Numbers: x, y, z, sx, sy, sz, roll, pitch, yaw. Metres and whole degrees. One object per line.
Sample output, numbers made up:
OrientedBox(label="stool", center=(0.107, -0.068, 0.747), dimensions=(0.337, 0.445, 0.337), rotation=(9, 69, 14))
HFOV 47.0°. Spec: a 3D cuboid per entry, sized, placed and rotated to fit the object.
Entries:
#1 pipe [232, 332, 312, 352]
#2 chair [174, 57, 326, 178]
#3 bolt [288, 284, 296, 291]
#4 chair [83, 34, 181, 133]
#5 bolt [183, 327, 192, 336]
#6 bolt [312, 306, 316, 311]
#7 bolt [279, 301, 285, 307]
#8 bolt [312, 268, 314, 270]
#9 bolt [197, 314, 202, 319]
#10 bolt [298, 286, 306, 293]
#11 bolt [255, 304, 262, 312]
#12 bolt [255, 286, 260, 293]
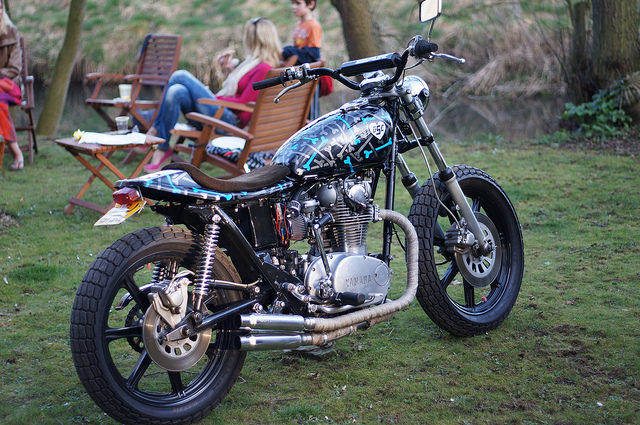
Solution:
OrientedBox(label="pipe", center=(-0.445, 1.137, 6.518), dimensions=(0.574, 0.134, 0.137), rotation=(-1, -21, -24))
OrientedBox(label="chair", center=(-0.820, -1.265, 10.310), dimensions=(1.878, 2.195, 1.511), rotation=(13, 21, 37))
OrientedBox(label="bolt", center=(-0.250, 0.677, 6.640), dimensions=(0.060, 0.056, 0.015), rotation=(-3, 6, -16))
OrientedBox(label="chair", center=(-3.052, -1.924, 11.853), dimensions=(1.392, 2.030, 1.643), rotation=(5, 9, 11))
OrientedBox(label="bolt", center=(-1.150, 1.031, 6.363), dimensions=(0.076, 0.073, 0.022), rotation=(-4, 6, -23))
OrientedBox(label="bolt", center=(-0.056, 0.868, 6.675), dimensions=(0.029, 0.034, 0.005), rotation=(-2, 5, -4))
OrientedBox(label="bolt", center=(-0.349, 0.826, 6.639), dimensions=(0.040, 0.047, 0.014), rotation=(5, 2, -13))
OrientedBox(label="bolt", center=(-0.068, 0.518, 6.730), dimensions=(0.015, 0.018, 0.004), rotation=(2, -3, -17))
OrientedBox(label="bolt", center=(-1.054, 0.904, 6.386), dimensions=(0.034, 0.047, 0.070), rotation=(-2, -3, -8))
OrientedBox(label="bolt", center=(-0.170, 0.698, 6.666), dimensions=(0.066, 0.063, 0.013), rotation=(-5, 7, -33))
OrientedBox(label="bolt", center=(-0.552, 0.851, 6.587), dimensions=(0.073, 0.082, 0.038), rotation=(13, -15, -43))
OrientedBox(label="bolt", center=(-0.571, 0.694, 6.616), dimensions=(0.048, 0.057, 0.014), rotation=(0, -1, -20))
